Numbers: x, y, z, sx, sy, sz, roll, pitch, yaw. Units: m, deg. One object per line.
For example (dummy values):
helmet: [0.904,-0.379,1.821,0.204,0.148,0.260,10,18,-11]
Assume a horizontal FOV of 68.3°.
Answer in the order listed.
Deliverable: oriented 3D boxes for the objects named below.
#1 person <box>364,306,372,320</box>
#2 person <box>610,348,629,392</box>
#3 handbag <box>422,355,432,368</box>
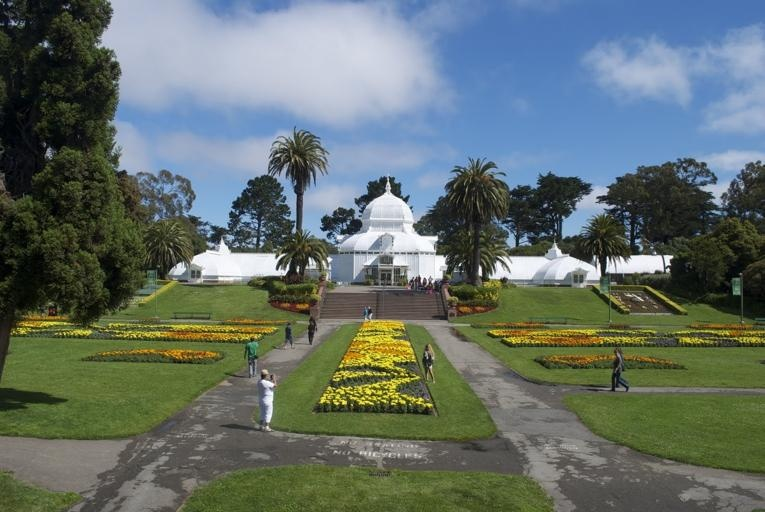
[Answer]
person: [-1.486,5.835,57.027,0.991,1.099,2.026,-4,-16,-3]
person: [12.510,6.003,29.812,0.850,2.131,1.009,2,4,23]
handbag: [2.438,5.786,30.811,0.400,0.706,0.640,0,3,-7]
